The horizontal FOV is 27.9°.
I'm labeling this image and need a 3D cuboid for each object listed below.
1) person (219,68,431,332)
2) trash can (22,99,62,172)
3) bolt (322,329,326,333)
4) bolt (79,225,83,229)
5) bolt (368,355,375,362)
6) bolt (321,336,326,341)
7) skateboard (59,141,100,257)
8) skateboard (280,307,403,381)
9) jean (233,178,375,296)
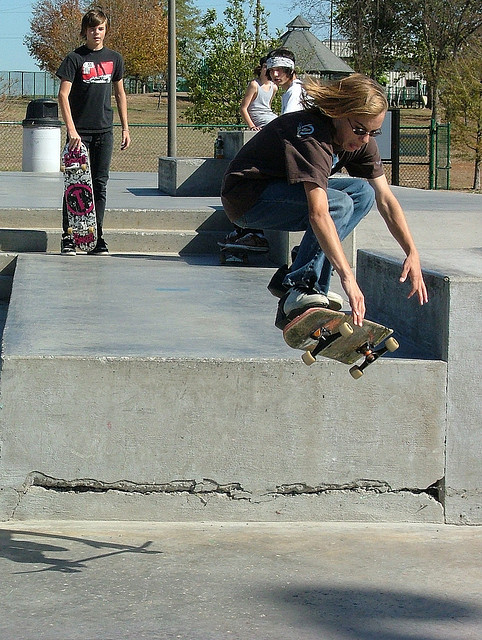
[{"bbox_3d":[0.354,-0.465,3.937,0.874,1.055,1.639,2,6,19],"label":"person"},{"bbox_3d":[-3.181,-3.028,15.494,0.592,1.181,0.527,-1,7,-13],"label":"trash can"},{"bbox_3d":[0.293,0.032,3.367,0.006,0.014,0.025,-2,6,-13],"label":"bolt"},{"bbox_3d":[-1.134,-0.684,6.890,0.024,0.015,0.012,0,3,6],"label":"bolt"},{"bbox_3d":[0.453,0.128,3.358,0.018,0.015,0.021,-6,-2,-34],"label":"bolt"},{"bbox_3d":[0.292,0.059,3.382,0.005,0.014,0.023,-3,7,-23],"label":"bolt"},{"bbox_3d":[-1.128,-0.890,6.923,0.207,0.757,0.109,-6,8,2],"label":"skateboard"},{"bbox_3d":[0.417,0.092,3.428,0.199,0.113,0.380,-40,14,-5],"label":"skateboard"},{"bbox_3d":[0.277,-0.377,4.371,0.518,0.314,0.784,6,1,3],"label":"jean"}]
